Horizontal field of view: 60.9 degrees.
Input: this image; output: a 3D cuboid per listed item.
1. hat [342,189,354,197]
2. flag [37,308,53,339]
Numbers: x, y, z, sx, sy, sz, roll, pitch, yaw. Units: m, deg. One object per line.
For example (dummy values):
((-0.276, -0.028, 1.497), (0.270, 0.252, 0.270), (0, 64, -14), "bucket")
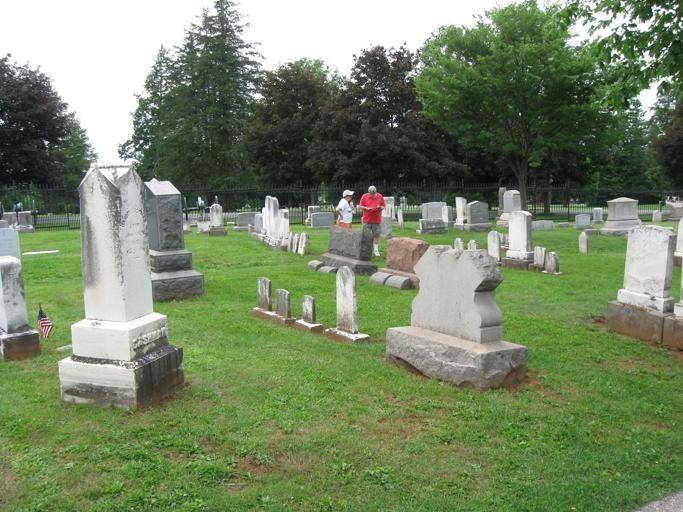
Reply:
((0.186, -1.894, 18.146), (0.350, 0.138, 0.252), (-10, 25, 40), "hat")
((-4.689, 1.044, 9.193), (0.167, 0.589, 0.532), (-3, 5, -30), "flag")
